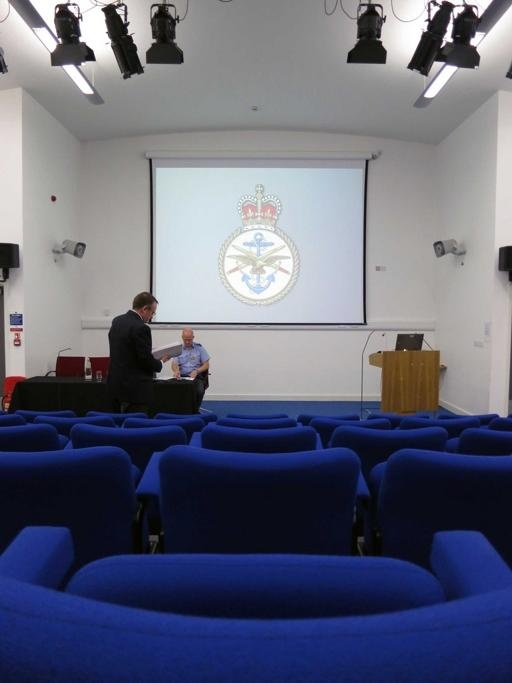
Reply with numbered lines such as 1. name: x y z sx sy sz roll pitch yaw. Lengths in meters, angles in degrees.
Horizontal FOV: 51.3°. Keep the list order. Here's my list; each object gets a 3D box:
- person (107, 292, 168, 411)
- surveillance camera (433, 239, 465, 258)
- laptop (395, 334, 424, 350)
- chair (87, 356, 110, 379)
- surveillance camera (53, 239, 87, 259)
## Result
1. person: -0.803 0.074 3.496 0.341 0.790 0.350 0 3 -17
2. surveillance camera: 2.270 -1.104 6.337 0.332 0.214 0.548 1 3 10
3. laptop: 1.594 0.004 5.589 0.269 0.172 0.237 1 3 16
4. chair: -1.599 0.262 5.376 0.205 0.348 0.208 1 -6 0
5. surveillance camera: -2.131 -1.097 6.210 0.370 0.238 0.309 3 14 20
